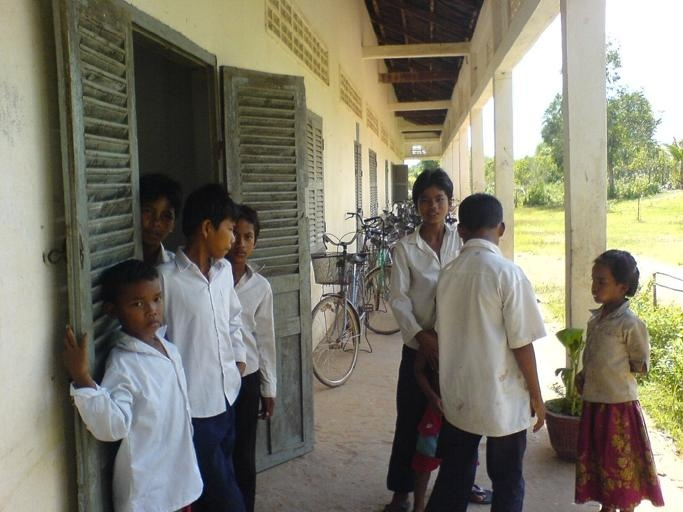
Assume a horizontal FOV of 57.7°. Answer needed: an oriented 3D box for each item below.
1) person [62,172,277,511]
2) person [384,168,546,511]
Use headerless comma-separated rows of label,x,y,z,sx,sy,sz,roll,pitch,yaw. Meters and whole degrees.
person,-0.754,0.494,2.871,0.409,1.600,1.064,-1,8,18
person,0.484,0.503,3.513,0.582,1.957,0.533,-10,10,-42
